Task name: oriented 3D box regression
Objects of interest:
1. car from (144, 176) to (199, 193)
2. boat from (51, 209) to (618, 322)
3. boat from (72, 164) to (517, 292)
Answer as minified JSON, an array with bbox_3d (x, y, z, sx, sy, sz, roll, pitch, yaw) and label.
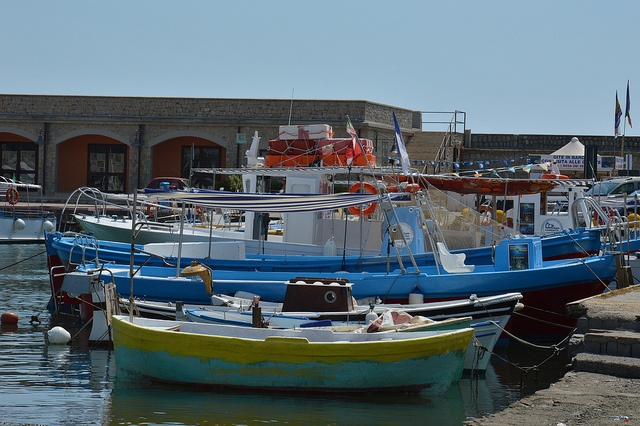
[{"bbox_3d":[-5.544,-1.052,45.083,1.933,0.904,1.345,2,1,6],"label":"car"},{"bbox_3d":[0.713,1.391,29.553,12.750,2.540,2.881,0,-2,12],"label":"boat"},{"bbox_3d":[-1.582,0.233,30.885,13.030,3.782,3.456,-1,0,18],"label":"boat"}]
